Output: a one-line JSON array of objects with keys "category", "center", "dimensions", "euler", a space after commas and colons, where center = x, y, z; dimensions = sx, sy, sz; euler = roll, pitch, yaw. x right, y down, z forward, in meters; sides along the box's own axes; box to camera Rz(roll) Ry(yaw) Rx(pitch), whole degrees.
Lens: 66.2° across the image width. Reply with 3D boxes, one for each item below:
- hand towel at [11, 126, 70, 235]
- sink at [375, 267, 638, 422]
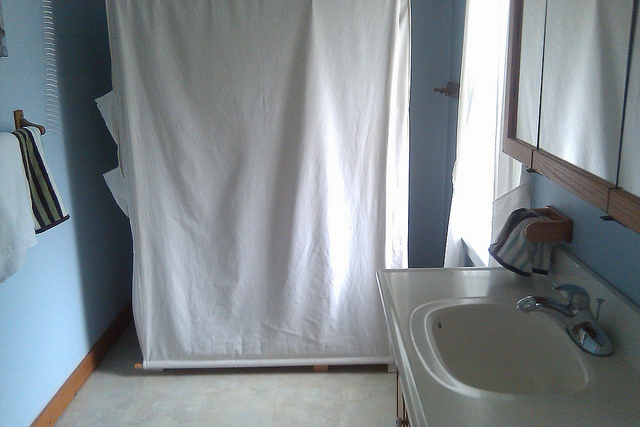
[{"category": "hand towel", "center": [-1.269, -0.147, 2.248], "dimensions": [0.155, 0.467, 0.197], "euler": [2, 17, -15]}, {"category": "sink", "center": [0.604, 0.436, 1.694], "dimensions": [0.691, 0.250, 0.734], "euler": [-2, 18, -7]}]
